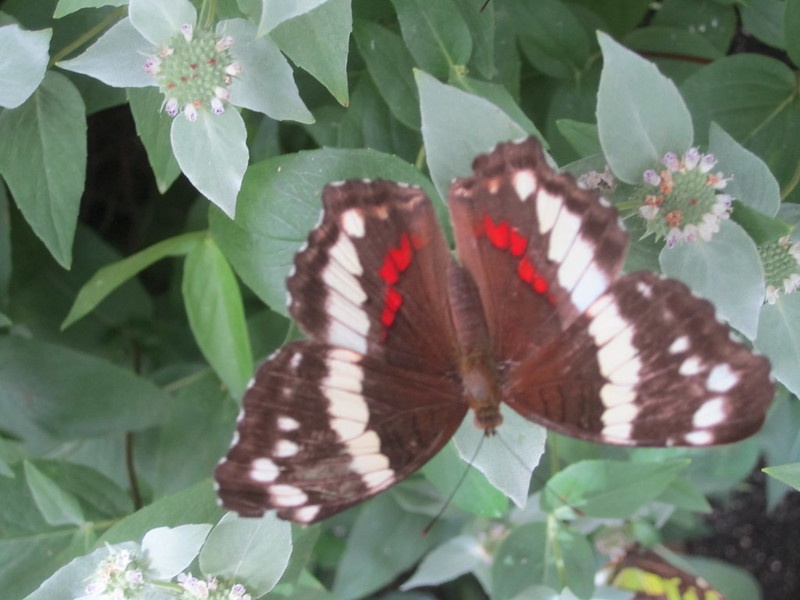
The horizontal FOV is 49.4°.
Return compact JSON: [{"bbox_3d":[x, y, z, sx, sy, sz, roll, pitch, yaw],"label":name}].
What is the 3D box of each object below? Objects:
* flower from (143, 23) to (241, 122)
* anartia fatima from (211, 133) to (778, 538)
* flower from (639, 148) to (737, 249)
[{"bbox_3d":[-0.271,-0.305,1.168,0.124,0.049,0.115,-29,75,2],"label":"flower"},{"bbox_3d":[0.103,0.031,1.229,0.736,0.171,0.474,-11,80,-3],"label":"anartia fatima"},{"bbox_3d":[0.392,-0.138,1.203,0.128,0.067,0.123,-12,76,6],"label":"flower"}]
